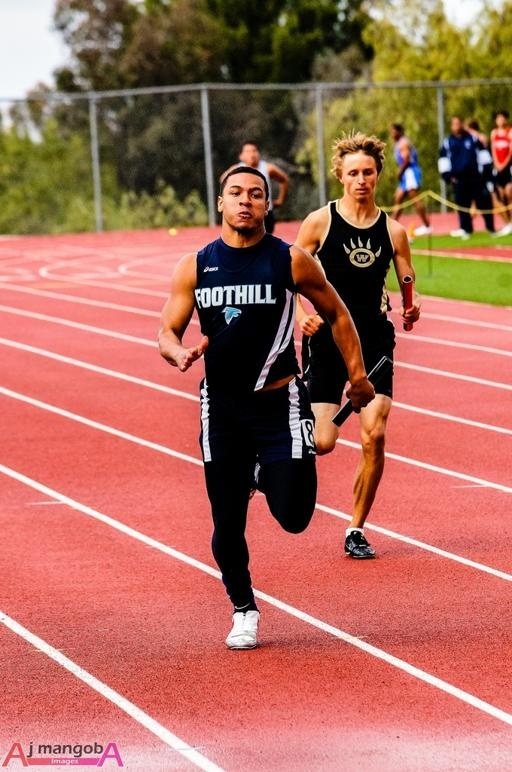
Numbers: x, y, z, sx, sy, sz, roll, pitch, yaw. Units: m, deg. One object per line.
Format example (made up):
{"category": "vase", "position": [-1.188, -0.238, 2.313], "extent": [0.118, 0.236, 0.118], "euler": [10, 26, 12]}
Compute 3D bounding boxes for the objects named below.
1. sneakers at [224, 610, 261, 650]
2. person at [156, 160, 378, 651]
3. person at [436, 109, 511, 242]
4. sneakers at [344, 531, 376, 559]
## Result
{"category": "sneakers", "position": [-0.057, 0.849, 2.625], "extent": [0.071, 0.080, 0.189], "euler": [0, -6, 5]}
{"category": "person", "position": [0.027, 0.123, 2.502], "extent": [0.713, 1.621, 0.343], "euler": [0, 2, -20]}
{"category": "person", "position": [4.958, -4.722, 17.363], "extent": [1.108, 2.822, 1.460], "euler": [1, 2, 29]}
{"category": "sneakers", "position": [0.535, 0.821, 3.927], "extent": [0.082, 0.100, 0.208], "euler": [0, 1, -19]}
